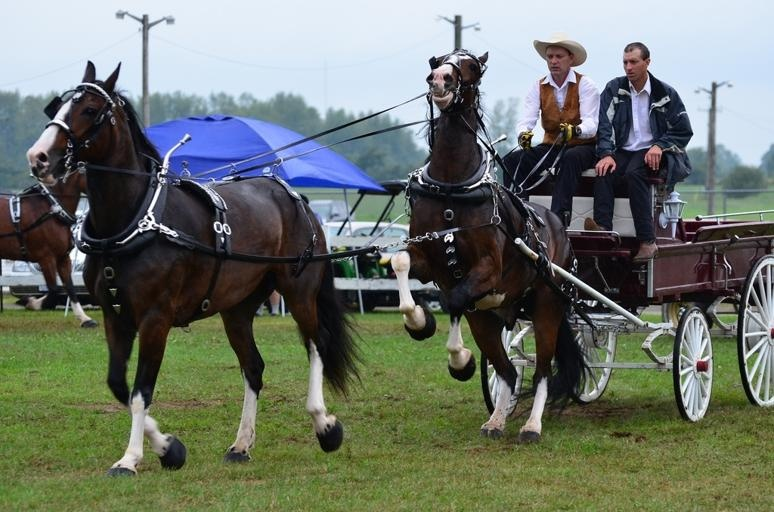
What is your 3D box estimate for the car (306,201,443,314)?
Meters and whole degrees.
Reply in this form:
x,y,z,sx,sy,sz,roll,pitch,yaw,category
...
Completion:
x,y,z,sx,sy,sz,roll,pitch,yaw,category
-0.246,0.090,24.416,2.490,2.021,3.941,2,7,30,car
